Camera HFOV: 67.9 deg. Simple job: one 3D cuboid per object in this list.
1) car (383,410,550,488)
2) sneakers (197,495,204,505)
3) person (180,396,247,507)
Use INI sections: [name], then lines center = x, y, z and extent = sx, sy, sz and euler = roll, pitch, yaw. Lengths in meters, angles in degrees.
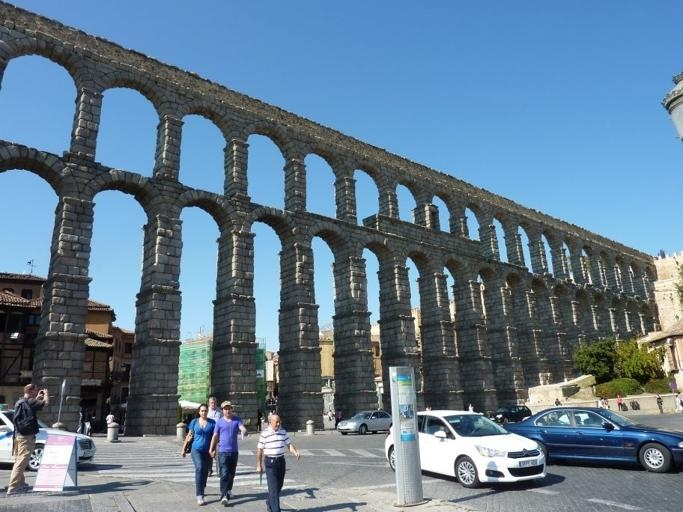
[car]
center = 3.696, 5.255, 13.944
extent = 3.000, 1.999, 1.342
euler = -17, -23, 40
[sneakers]
center = -3.228, 5.628, 11.687
extent = 0.106, 0.186, 0.139
euler = 5, 6, 31
[person]
center = -3.164, 4.828, 12.392
extent = 1.403, 2.254, 0.905
euler = 7, -21, -25
